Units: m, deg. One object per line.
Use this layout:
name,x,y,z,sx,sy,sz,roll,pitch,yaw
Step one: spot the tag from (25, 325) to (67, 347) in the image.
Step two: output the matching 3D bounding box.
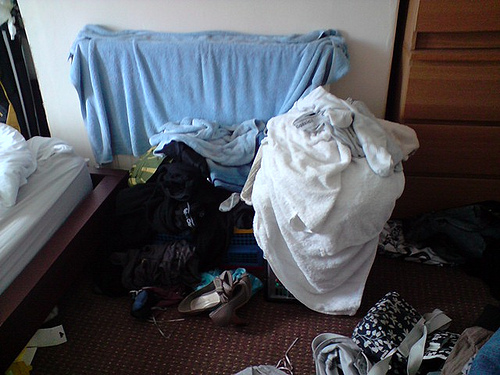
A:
tag,-1.002,0.736,1.932,0.190,0.008,0.080,-11,77,-8

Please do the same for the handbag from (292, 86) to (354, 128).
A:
handbag,0.360,-0.400,1.980,0.242,0.100,0.243,-33,53,-26

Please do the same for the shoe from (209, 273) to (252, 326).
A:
shoe,-0.069,0.578,2.010,0.138,0.075,0.287,-6,45,53
